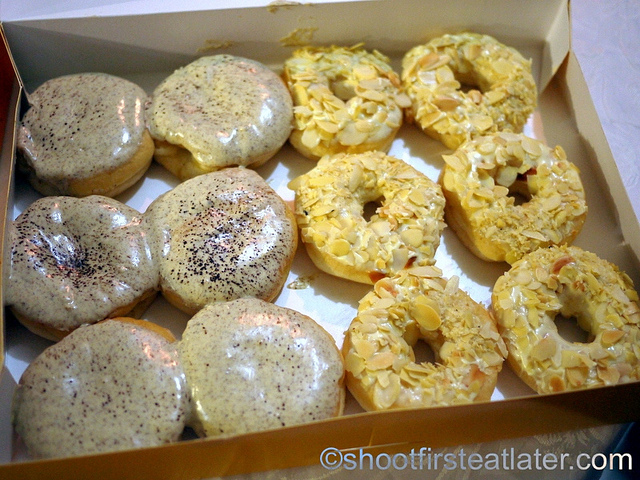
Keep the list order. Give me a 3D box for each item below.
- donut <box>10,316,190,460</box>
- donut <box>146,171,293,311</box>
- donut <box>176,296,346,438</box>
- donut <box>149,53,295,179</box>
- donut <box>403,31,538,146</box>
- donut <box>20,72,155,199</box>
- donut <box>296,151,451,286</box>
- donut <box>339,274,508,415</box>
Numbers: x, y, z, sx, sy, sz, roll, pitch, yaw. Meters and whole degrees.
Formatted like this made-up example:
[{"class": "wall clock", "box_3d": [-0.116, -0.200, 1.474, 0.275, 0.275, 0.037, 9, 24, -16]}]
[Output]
[{"class": "donut", "box_3d": [-0.503, 0.335, 1.324, 0.398, 0.073, 0.300, -3, 61, -2]}, {"class": "donut", "box_3d": [-0.242, 0.001, 1.563, 0.423, 0.129, 0.404, 22, 52, 21]}, {"class": "donut", "box_3d": [-0.150, 0.301, 1.406, 0.419, 0.152, 0.329, -7, 61, -5]}, {"class": "donut", "box_3d": [-0.285, -0.361, 1.697, 0.386, 0.160, 0.400, 28, 64, 14]}, {"class": "donut", "box_3d": [0.460, -0.483, 1.784, 0.344, 0.133, 0.403, -5, 61, -5]}, {"class": "donut", "box_3d": [-0.656, -0.301, 1.647, 0.348, 0.182, 0.354, -17, 62, -9]}, {"class": "donut", "box_3d": [0.133, -0.074, 1.634, 0.441, 0.148, 0.378, 20, 63, 10]}, {"class": "donut", "box_3d": [0.268, 0.269, 1.487, 0.442, 0.146, 0.331, -3, 61, -3]}]
